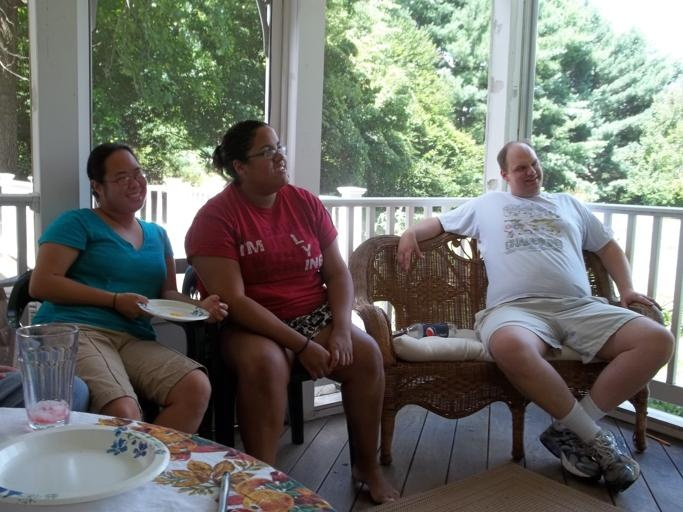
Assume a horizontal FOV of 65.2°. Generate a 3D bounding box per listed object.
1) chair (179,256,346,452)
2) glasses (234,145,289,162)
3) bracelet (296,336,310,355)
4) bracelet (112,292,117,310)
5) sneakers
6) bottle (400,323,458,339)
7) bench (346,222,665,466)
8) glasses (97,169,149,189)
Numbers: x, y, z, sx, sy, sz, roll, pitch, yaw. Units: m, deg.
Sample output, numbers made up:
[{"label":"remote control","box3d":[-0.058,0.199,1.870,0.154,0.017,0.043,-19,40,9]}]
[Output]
[{"label":"chair","box3d":[-0.447,0.429,2.563,0.767,1.051,0.829,-1,4,-13]},{"label":"glasses","box3d":[-0.315,-0.430,2.250,0.115,0.031,0.090,-17,6,2]},{"label":"bracelet","box3d":[-0.144,0.348,2.092,0.016,0.061,0.064,24,8,6]},{"label":"bracelet","box3d":[-0.862,0.169,2.029,0.016,0.051,0.035,1,13,-23]},{"label":"sneakers","box3d":[1.160,0.853,2.287,0.134,0.143,0.323,-27,9,9]},{"label":"bottle","box3d":[0.419,0.358,2.589,0.334,0.091,0.099,-1,-8,-12]},{"label":"bench","box3d":[0.754,0.368,2.727,1.439,1.018,0.758,0,8,-7]},{"label":"glasses","box3d":[-0.894,-0.306,2.182,0.098,0.032,0.098,-17,-3,42]}]
